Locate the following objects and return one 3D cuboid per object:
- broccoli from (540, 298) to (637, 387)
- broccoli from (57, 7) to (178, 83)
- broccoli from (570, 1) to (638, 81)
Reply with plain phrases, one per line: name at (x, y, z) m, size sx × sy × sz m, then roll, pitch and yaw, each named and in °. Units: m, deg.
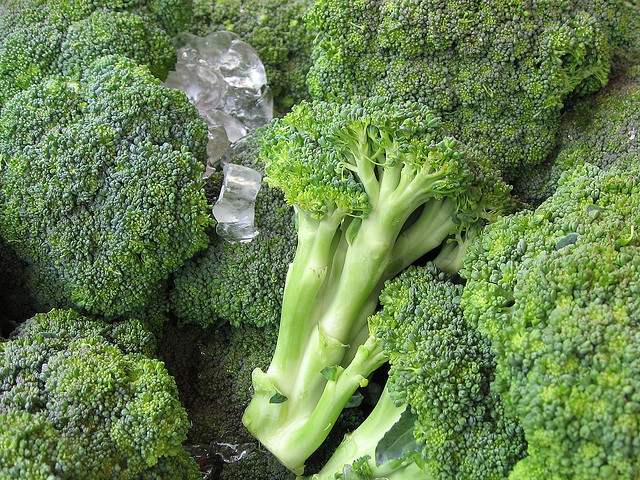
broccoli at (0.814, 0.290, 1.926) m, size 0.211 × 0.135 × 0.269 m, roll 8°, pitch 74°, yaw 9°
broccoli at (-0.849, -0.833, 2.640) m, size 0.352 × 0.156 × 0.330 m, roll -24°, pitch 59°, yaw -18°
broccoli at (1.215, -0.835, 2.583) m, size 0.118 × 0.272 × 0.327 m, roll 49°, pitch 35°, yaw 1°
